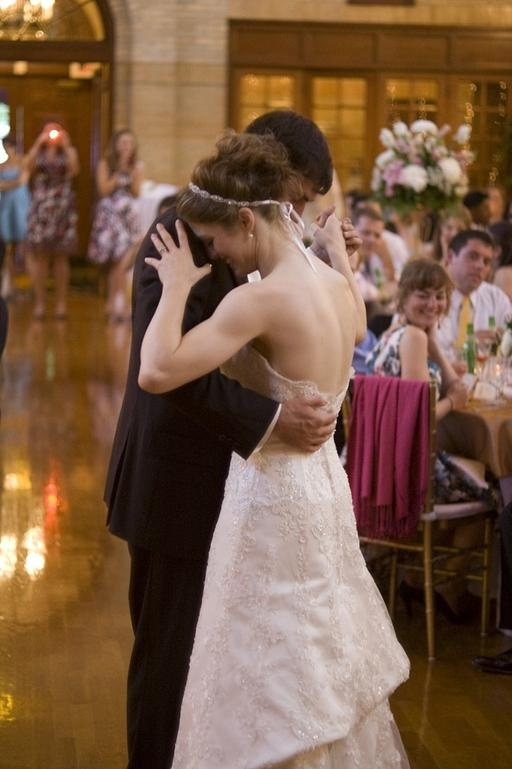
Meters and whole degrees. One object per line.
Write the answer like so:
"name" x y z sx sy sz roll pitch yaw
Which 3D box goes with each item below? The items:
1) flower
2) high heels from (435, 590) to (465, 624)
"flower" 1.152 -1.484 5.068 0.625 0.670 0.771 0 53 1
"high heels" 0.827 0.933 3.076 0.126 0.121 0.098 7 8 39
